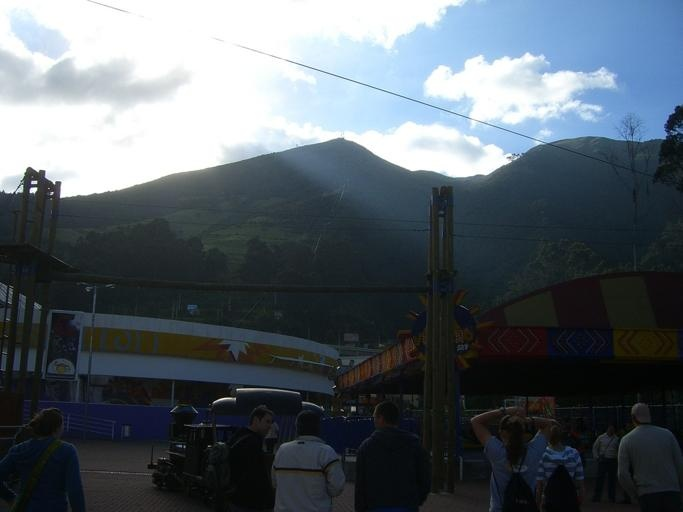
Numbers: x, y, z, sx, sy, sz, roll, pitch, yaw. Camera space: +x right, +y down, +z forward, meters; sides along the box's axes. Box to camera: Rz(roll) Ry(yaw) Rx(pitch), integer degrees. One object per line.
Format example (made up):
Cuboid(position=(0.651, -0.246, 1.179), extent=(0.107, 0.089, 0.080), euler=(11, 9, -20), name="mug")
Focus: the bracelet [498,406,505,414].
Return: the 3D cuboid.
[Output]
Cuboid(position=(2.331, 2.221, 10.790), extent=(0.053, 0.077, 0.076), euler=(1, -25, 1), name="bracelet")
